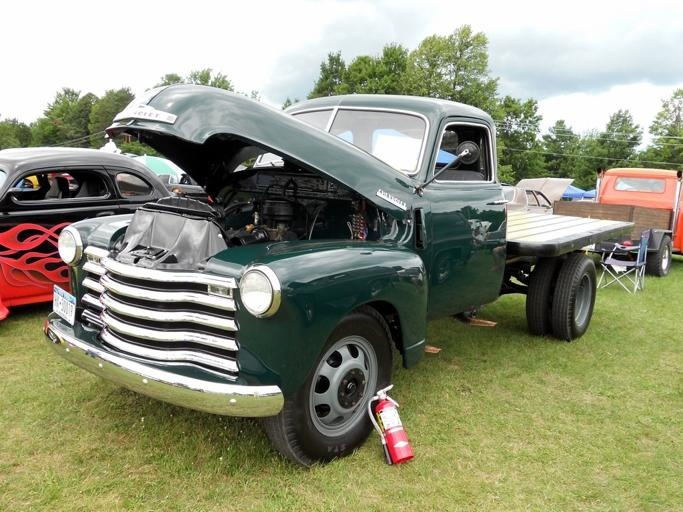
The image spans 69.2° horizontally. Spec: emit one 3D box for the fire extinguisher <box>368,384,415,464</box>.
[{"bbox_3d":[0.394,1.248,3.706,0.376,0.531,0.317,0,8,-12],"label":"fire extinguisher"}]
